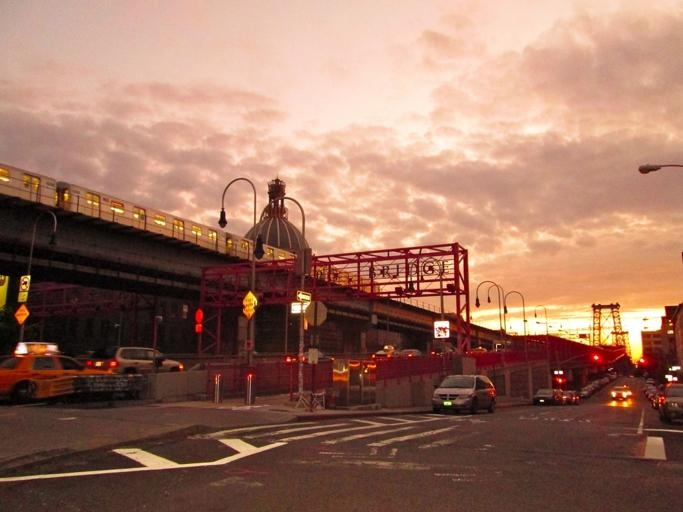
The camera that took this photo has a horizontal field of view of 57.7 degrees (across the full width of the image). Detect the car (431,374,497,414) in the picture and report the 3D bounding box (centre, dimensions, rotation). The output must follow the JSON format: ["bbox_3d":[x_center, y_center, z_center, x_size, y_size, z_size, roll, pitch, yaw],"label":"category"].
[{"bbox_3d":[6.038,6.713,30.296,1.590,1.816,3.653,-11,-19,38],"label":"car"}]
